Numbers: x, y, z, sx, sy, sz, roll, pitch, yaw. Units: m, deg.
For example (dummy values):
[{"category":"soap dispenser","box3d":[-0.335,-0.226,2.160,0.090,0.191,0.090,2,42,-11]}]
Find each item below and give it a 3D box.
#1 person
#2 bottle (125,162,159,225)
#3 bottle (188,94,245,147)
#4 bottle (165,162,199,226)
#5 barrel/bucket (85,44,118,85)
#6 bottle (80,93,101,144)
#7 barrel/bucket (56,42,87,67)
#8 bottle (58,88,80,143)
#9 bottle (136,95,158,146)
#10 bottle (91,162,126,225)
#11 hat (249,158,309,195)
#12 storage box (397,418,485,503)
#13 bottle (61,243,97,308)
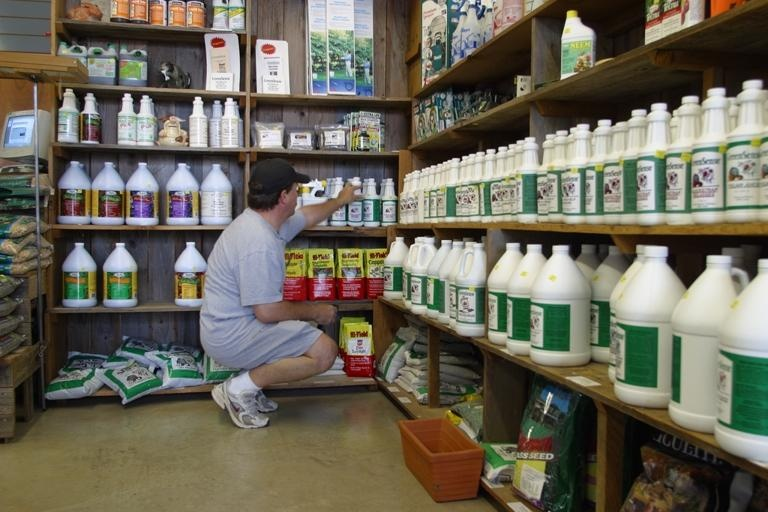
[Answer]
[{"category":"person","box3d":[-0.733,0.204,3.578,0.824,1.613,0.623,-6,11,-33]},{"category":"bottle","box3d":[-1.714,-0.440,3.983,0.217,0.431,0.150,-4,10,-24]},{"category":"bottle","box3d":[-1.199,-0.960,4.044,0.454,0.365,0.143,0,2,-9]},{"category":"bottle","box3d":[-1.428,-0.438,4.011,0.228,0.434,0.202,-2,10,-17]},{"category":"barrel/bucket","box3d":[-1.964,-1.333,3.939,0.202,0.287,0.155,-3,10,-22]},{"category":"bottle","box3d":[-2.058,-0.964,3.953,0.140,0.357,0.279,-4,10,-25]},{"category":"barrel/bucket","box3d":[-2.155,-1.411,3.926,0.180,0.177,0.199,-3,9,-20]},{"category":"bottle","box3d":[-2.183,-0.966,3.895,0.148,0.370,0.206,-4,10,-23]},{"category":"bottle","box3d":[-1.695,-0.959,4.005,0.128,0.354,0.215,-3,10,-22]},{"category":"bottle","box3d":[-1.939,-0.435,3.942,0.197,0.418,0.135,-7,12,-37]},{"category":"hat","box3d":[-0.634,-0.477,3.453,0.313,0.144,0.212,-18,23,-29]},{"category":"storage box","box3d":[0.254,0.988,2.773,0.269,0.163,0.395,-1,8,-15]},{"category":"bottle","box3d":[-2.133,0.131,3.912,0.242,0.433,0.234,0,9,0]}]
